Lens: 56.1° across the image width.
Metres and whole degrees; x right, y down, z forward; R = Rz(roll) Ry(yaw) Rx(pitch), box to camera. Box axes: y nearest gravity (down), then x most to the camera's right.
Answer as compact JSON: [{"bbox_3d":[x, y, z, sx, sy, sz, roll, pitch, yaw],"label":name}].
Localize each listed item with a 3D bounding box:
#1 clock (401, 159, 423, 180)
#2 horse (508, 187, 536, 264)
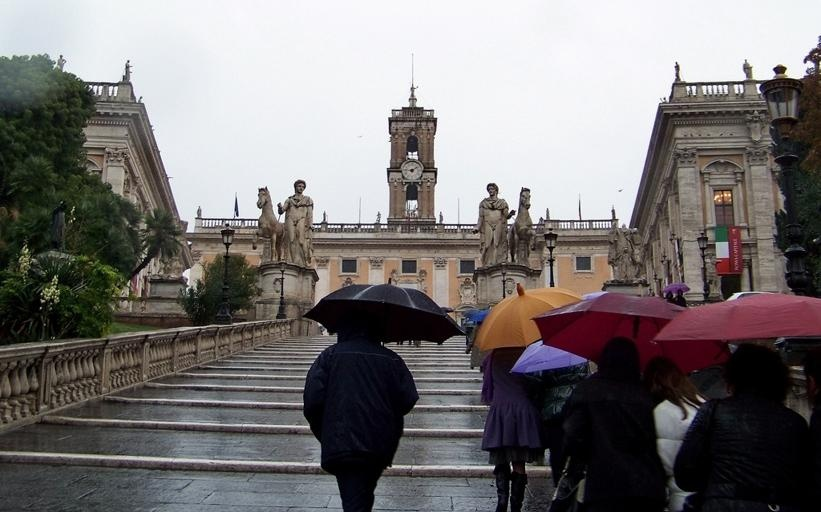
[{"bbox_3d":[0.168,-8.798,78.973,2.050,1.887,0.424,-5,-10,-10],"label":"clock"},{"bbox_3d":[4.726,-1.180,32.679,1.056,3.310,2.762,3,4,7],"label":"horse"}]
